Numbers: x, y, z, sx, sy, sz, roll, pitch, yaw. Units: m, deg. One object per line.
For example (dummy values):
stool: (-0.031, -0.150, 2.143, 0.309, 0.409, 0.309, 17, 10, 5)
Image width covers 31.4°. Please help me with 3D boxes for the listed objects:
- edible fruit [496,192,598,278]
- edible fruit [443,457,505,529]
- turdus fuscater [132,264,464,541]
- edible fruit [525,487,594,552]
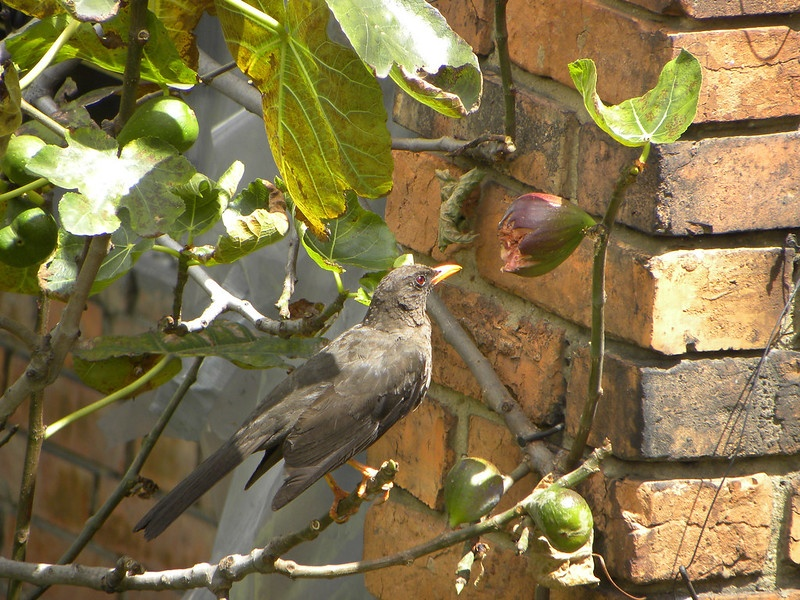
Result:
edible fruit: (0.219, -0.109, 2.239, 0.152, 0.130, 0.144, -6, -66, 15)
edible fruit: (0.120, 0.310, 2.296, 0.095, 0.127, 0.067, 22, -23, -37)
turdus fuscater: (-0.188, 0.200, 2.626, 0.479, 0.583, 0.407, 10, -19, -10)
edible fruit: (0.244, 0.333, 2.242, 0.100, 0.075, 0.077, 40, -16, 32)
